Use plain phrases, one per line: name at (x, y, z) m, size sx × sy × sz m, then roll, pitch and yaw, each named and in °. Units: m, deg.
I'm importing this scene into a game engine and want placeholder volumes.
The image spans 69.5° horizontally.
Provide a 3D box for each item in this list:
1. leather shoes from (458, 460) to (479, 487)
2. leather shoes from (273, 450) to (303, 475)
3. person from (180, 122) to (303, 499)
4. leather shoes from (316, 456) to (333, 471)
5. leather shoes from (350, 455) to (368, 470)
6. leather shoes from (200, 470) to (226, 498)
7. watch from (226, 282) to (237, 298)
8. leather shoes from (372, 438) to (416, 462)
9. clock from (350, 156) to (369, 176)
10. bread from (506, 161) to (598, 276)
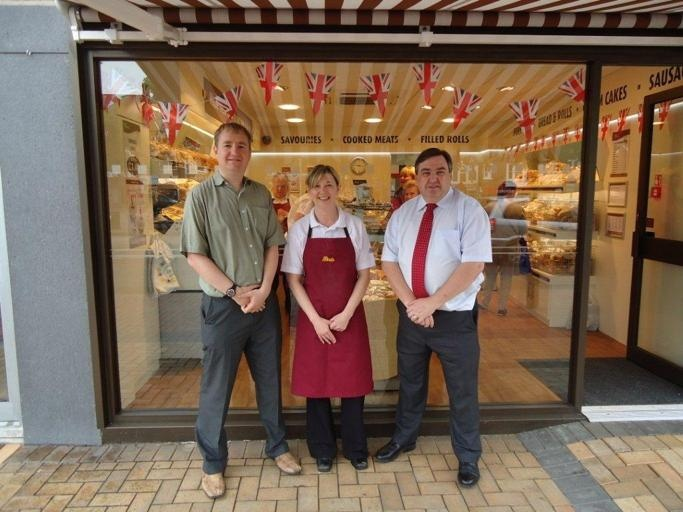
leather shoes at (0.923, 1.543, 3.547) m, size 0.147 × 0.131 × 0.236 m, roll 3°, pitch 11°, yaw 16°
leather shoes at (-0.384, 1.525, 3.604) m, size 0.098 × 0.102 × 0.259 m, roll 4°, pitch -15°, yaw -24°
person at (-0.716, 0.361, 3.471) m, size 0.721 × 2.546 × 0.576 m, roll -4°, pitch 12°, yaw -17°
leather shoes at (-0.124, 1.523, 3.616) m, size 0.115 × 0.057 × 0.170 m, roll 1°, pitch 0°, yaw -4°
leather shoes at (0.140, 1.524, 3.622) m, size 0.063 × 0.060 × 0.163 m, roll 1°, pitch -12°, yaw -6°
leather shoes at (-0.899, 1.599, 3.444) m, size 0.142 × 0.117 × 0.163 m, roll -5°, pitch 12°, yaw -24°
watch at (-0.745, 0.240, 3.404) m, size 0.069 × 0.099 × 0.093 m, roll 33°, pitch -17°, yaw -24°
leather shoes at (0.448, 1.474, 3.787) m, size 0.395 × 0.144 × 0.127 m, roll 0°, pitch 1°, yaw -33°
clock at (0.173, -0.864, 4.730) m, size 0.183 × 0.162 × 0.041 m, roll 0°, pitch 5°, yaw 14°
bread at (1.706, -0.330, 4.299) m, size 0.497 × 0.973 × 0.592 m, roll 0°, pitch 11°, yaw 3°
